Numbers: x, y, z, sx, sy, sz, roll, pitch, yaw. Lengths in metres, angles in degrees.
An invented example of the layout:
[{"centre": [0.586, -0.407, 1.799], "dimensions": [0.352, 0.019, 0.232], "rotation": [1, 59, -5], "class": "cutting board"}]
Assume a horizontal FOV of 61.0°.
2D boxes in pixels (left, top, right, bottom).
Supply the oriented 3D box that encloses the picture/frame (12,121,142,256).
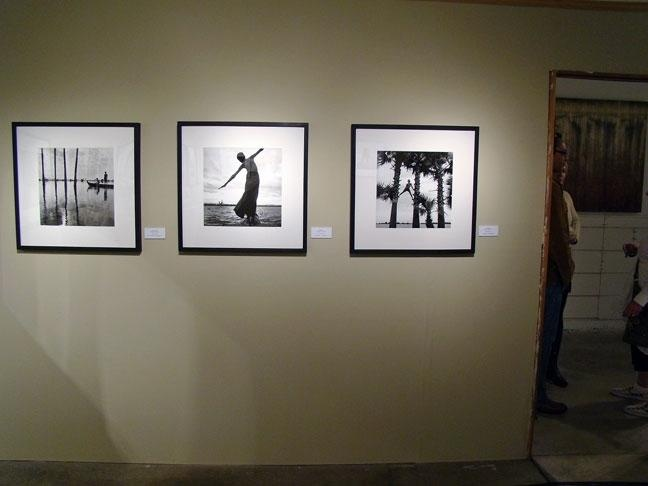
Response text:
[{"centre": [-1.861, -0.464, 4.182], "dimensions": [0.845, 0.960, 0.046], "rotation": [1, 8, 1], "class": "picture/frame"}]
